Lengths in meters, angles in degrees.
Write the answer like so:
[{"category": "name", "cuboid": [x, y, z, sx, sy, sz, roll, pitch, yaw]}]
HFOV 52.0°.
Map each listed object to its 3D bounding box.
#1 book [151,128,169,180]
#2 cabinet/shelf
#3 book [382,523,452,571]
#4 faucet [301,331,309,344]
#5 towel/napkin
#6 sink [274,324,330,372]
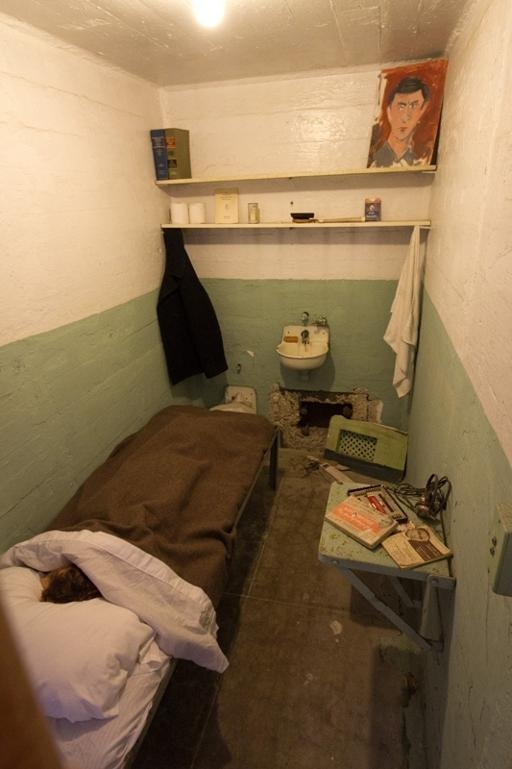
[{"category": "book", "cuboid": [-0.631, -1.539, 3.470, 0.089, 0.253, 0.271, -1, 66, -3]}, {"category": "cabinet/shelf", "cuboid": [0.224, -1.202, 3.473, 1.837, 0.380, 0.457, 6, 24, 22]}, {"category": "book", "cuboid": [0.580, 0.597, 1.930, 0.197, 0.060, 0.211, -6, 23, -6]}, {"category": "faucet", "cuboid": [0.357, -0.351, 3.830, 0.051, 0.098, 0.073, -2, 22, 4]}, {"category": "towel/napkin", "cuboid": [0.947, -0.437, 3.378, 0.219, 1.148, 0.408, 3, 22, 18]}, {"category": "sink", "cuboid": [0.341, -0.251, 3.777, 0.369, 0.293, 0.393, 0, 22, 8]}]
